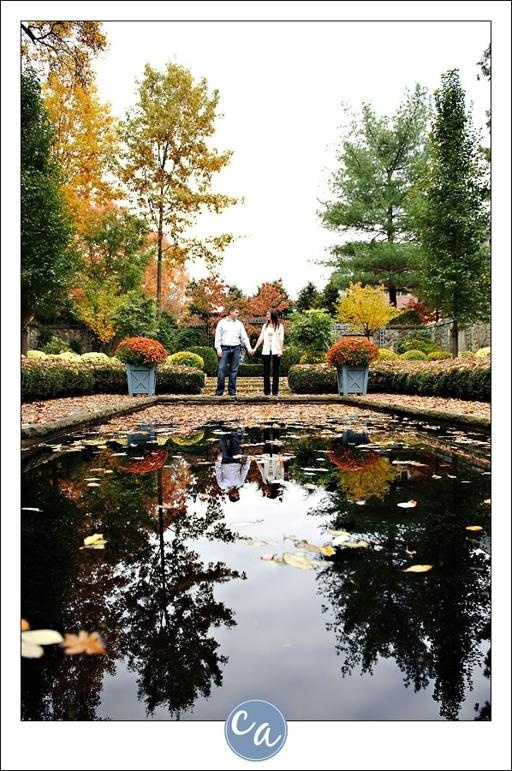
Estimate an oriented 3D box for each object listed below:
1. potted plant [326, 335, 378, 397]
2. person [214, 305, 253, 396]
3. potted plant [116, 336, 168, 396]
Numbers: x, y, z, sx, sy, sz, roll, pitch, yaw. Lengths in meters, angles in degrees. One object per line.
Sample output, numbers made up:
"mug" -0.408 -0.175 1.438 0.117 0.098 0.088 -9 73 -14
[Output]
"potted plant" 1.503 -0.288 9.051 0.728 0.935 0.764 1 5 7
"person" -0.343 -0.489 8.488 0.509 1.391 1.440 0 5 -3
"potted plant" -1.815 -0.273 8.911 0.723 0.945 0.875 -1 5 -20
